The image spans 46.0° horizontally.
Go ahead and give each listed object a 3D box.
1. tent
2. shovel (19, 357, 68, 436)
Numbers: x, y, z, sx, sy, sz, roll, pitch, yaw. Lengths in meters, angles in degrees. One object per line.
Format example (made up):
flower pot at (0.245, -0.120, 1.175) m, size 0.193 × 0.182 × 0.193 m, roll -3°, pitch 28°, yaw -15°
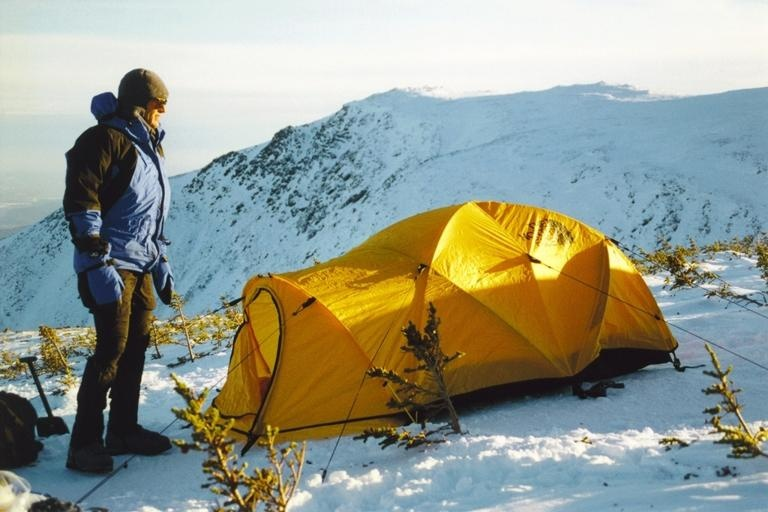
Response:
tent at (1.254, 1.330, 18.940) m, size 8.666 × 4.530 × 1.837 m, roll -2°, pitch 14°, yaw -11°
shovel at (-6.998, 2.923, 18.894) m, size 1.073 × 1.705 × 0.892 m, roll 2°, pitch -3°, yaw -10°
